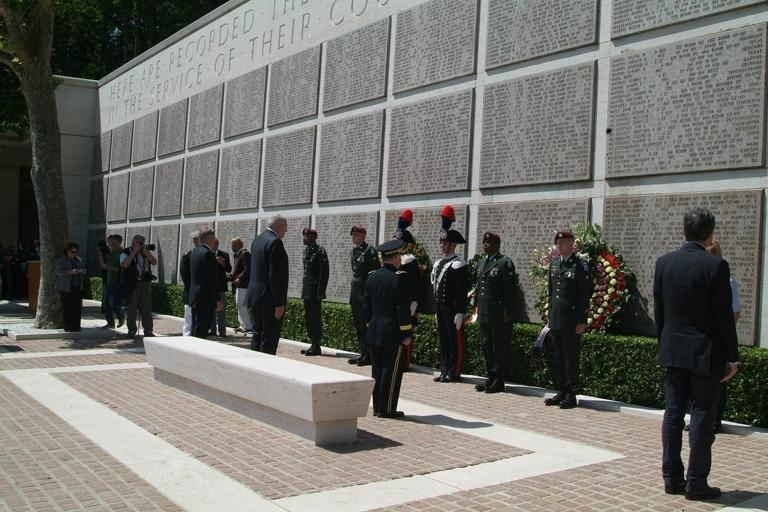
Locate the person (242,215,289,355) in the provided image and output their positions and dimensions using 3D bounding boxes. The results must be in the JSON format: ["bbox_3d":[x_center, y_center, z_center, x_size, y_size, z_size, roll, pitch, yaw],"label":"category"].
[{"bbox_3d":[-1.632,0.391,10.108,0.507,1.916,0.689,-3,6,-40],"label":"person"}]

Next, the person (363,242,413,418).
[{"bbox_3d":[0.024,1.103,9.269,0.649,1.840,0.392,3,5,15],"label":"person"}]

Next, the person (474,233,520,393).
[{"bbox_3d":[1.680,0.827,10.909,0.585,2.330,0.656,2,5,6],"label":"person"}]

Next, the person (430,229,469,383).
[{"bbox_3d":[1.029,0.767,11.451,0.555,2.336,0.744,1,5,3],"label":"person"}]

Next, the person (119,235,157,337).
[{"bbox_3d":[-4.992,0.634,14.669,0.586,2.036,0.698,-1,5,-20],"label":"person"}]

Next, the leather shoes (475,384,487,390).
[{"bbox_3d":[1.462,1.936,10.793,0.089,0.046,0.127,-6,2,38],"label":"leather shoes"}]

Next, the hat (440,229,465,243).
[{"bbox_3d":[1.105,-0.297,11.519,0.326,0.143,0.230,3,-2,-30],"label":"hat"}]

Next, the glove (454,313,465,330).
[{"bbox_3d":[1.130,0.998,11.145,0.078,0.223,0.160,16,-7,-16],"label":"glove"}]

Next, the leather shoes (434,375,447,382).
[{"bbox_3d":[0.881,1.916,11.404,0.186,0.080,0.069,4,-10,-2],"label":"leather shoes"}]

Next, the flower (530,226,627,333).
[{"bbox_3d":[3.110,0.282,10.582,1.169,1.541,0.506,-2,-10,33],"label":"flower"}]

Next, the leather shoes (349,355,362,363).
[{"bbox_3d":[-0.472,1.772,12.436,0.242,0.105,0.090,5,-6,-24],"label":"leather shoes"}]

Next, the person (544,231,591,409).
[{"bbox_3d":[2.514,0.865,10.153,0.593,2.395,0.574,5,6,36],"label":"person"}]

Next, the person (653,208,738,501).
[{"bbox_3d":[3.205,0.954,7.454,0.797,2.872,0.760,2,5,9],"label":"person"}]

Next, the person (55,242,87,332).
[{"bbox_3d":[-6.413,0.625,14.861,0.507,1.784,0.540,-1,5,-25],"label":"person"}]
